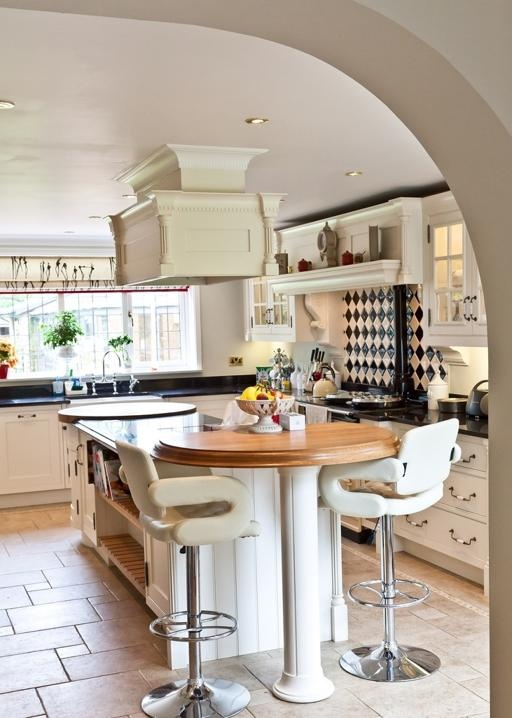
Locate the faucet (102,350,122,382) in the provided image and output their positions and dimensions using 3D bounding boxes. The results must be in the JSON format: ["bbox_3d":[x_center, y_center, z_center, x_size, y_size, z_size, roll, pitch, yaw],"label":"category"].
[{"bbox_3d":[-1.696,0.062,6.848,0.203,0.364,0.315,-2,0,-4],"label":"faucet"}]

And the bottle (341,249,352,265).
[{"bbox_3d":[0.747,-0.833,4.839,0.102,0.140,0.099,1,3,0],"label":"bottle"}]

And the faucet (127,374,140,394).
[{"bbox_3d":[-1.414,0.292,6.752,0.155,0.161,0.314,1,21,-1],"label":"faucet"}]

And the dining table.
[{"bbox_3d":[0.047,0.859,2.792,1.097,1.149,1.191,1,-2,-41],"label":"dining table"}]

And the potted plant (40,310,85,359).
[{"bbox_3d":[-2.164,-0.241,6.672,0.355,0.372,0.331,-3,1,-11],"label":"potted plant"}]

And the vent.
[{"bbox_3d":[-0.398,-0.800,3.505,0.692,0.651,1.302,-4,9,-22],"label":"vent"}]

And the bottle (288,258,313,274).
[{"bbox_3d":[0.458,-0.884,5.624,0.142,0.114,0.193,2,5,31],"label":"bottle"}]

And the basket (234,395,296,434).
[{"bbox_3d":[0.048,0.239,2.647,0.191,0.107,0.192,1,1,29],"label":"basket"}]

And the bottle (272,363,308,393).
[{"bbox_3d":[0.371,0.205,6.113,0.314,0.398,1.035,0,-1,-2],"label":"bottle"}]

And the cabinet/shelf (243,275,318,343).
[{"bbox_3d":[0.258,-0.575,6.455,0.335,0.733,0.831,-7,7,-38],"label":"cabinet/shelf"}]

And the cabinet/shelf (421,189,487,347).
[{"bbox_3d":[1.464,-0.635,4.190,0.844,0.926,0.233,-9,11,-24],"label":"cabinet/shelf"}]

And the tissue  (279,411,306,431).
[{"bbox_3d":[0.181,0.287,2.731,0.064,0.070,0.129,0,6,-15],"label":"tissue "}]

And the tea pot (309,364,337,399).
[{"bbox_3d":[0.600,0.219,5.629,0.221,0.322,0.325,1,-4,-8],"label":"tea pot"}]

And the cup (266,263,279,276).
[{"bbox_3d":[0.080,-0.452,2.976,0.073,0.069,0.072,0,2,0],"label":"cup"}]

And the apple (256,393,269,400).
[{"bbox_3d":[0.028,0.169,2.641,0.032,0.029,0.031,1,9,6],"label":"apple"}]

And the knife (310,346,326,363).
[{"bbox_3d":[0.656,-0.040,6.210,0.154,0.149,0.041,4,0,15],"label":"knife"}]
